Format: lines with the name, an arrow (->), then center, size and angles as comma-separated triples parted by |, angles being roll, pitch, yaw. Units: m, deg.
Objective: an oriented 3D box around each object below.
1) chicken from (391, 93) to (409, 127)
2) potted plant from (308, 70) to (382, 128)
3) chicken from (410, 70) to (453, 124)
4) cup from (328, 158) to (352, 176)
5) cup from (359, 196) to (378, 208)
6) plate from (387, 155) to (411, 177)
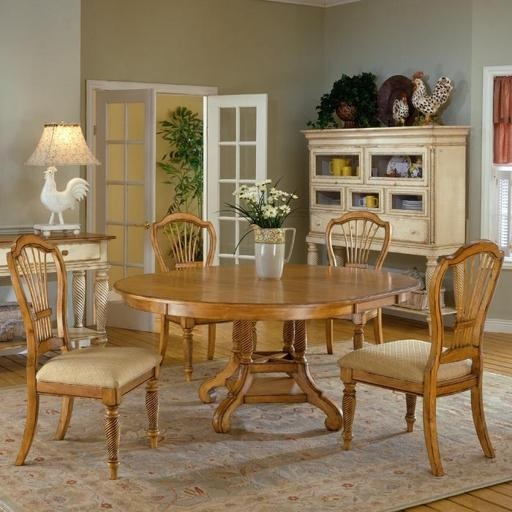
chicken -> 1.423, -1.419, 5.061 | 0.141, 0.302, 0.185 | 0, 2, 16
potted plant -> 0.916, -1.592, 5.675 | 1.000, 0.589, 0.672 | -1, 4, -7
chicken -> 1.676, -1.503, 4.904 | 0.360, 0.554, 0.421 | 0, 2, 19
cup -> 0.872, -0.912, 5.304 | 0.262, 0.202, 0.153 | -5, -6, 35
cup -> 1.109, -0.531, 5.023 | 0.107, 0.122, 0.159 | -1, 6, -35
plate -> 1.343, -0.842, 4.843 | 0.188, 0.208, 0.223 | 6, 16, 1
